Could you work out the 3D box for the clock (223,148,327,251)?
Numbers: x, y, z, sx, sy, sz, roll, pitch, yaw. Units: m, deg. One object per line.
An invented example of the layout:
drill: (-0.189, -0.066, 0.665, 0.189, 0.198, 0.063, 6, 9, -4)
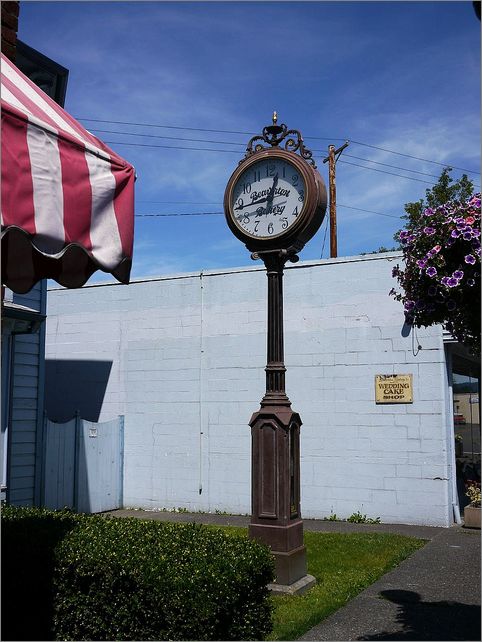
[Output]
clock: (0.329, -1.300, 9.270, 1.028, 1.192, 0.369, -5, -13, 17)
